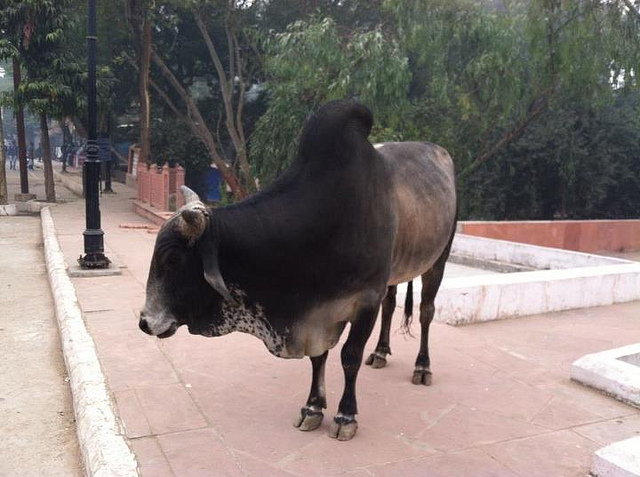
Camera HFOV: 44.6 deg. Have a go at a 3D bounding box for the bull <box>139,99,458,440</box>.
[{"bbox_3d":[0.123,0.392,9.021,1.345,3.916,5.160,14,20,37],"label":"bull"}]
